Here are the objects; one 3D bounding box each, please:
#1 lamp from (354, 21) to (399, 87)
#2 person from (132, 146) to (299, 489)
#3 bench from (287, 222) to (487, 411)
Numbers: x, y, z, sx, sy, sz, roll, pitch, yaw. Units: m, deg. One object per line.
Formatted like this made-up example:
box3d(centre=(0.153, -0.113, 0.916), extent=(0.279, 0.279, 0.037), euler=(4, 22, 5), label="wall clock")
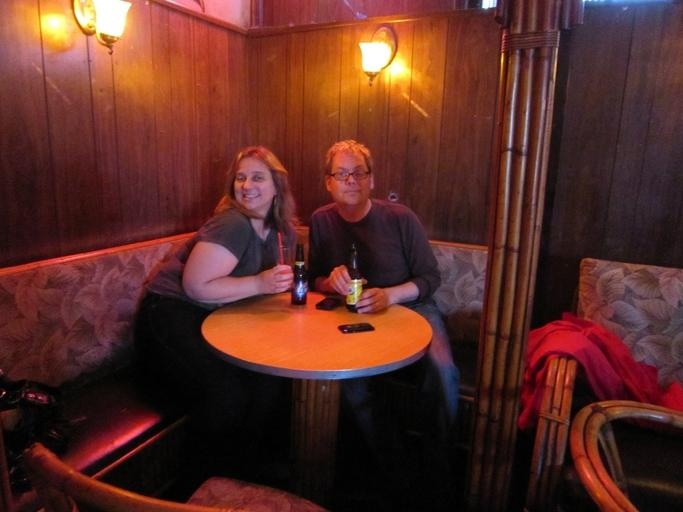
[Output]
box3d(centre=(0.248, -1.351, 3.465), extent=(0.299, 0.481, 0.220), euler=(18, 19, 29), label="lamp")
box3d(centre=(-0.557, 0.332, 2.679), extent=(0.753, 1.670, 0.632), euler=(-2, -1, -3), label="person")
box3d(centre=(0.333, 0.326, 3.232), extent=(1.050, 1.000, 0.798), euler=(1, -3, 29), label="bench")
